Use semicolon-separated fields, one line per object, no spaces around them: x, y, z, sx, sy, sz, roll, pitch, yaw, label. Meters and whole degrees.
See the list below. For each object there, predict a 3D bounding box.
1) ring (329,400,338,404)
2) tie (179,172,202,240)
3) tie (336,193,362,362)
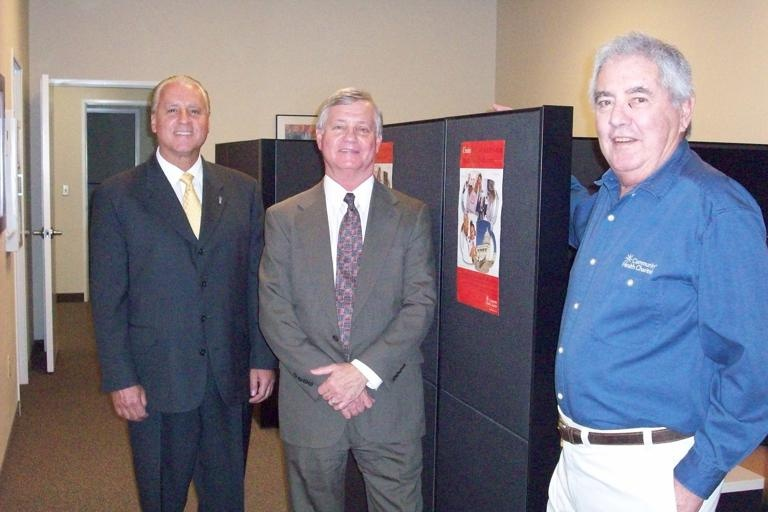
-0.229;0.647;2.846;0.027;0.026;0.008;15;20;7;ring
-0.954;-0.253;3.125;0.077;0.373;0.054;-10;-12;-21;tie
-0.164;0.083;2.912;0.099;0.711;0.085;2;-5;-1;tie
